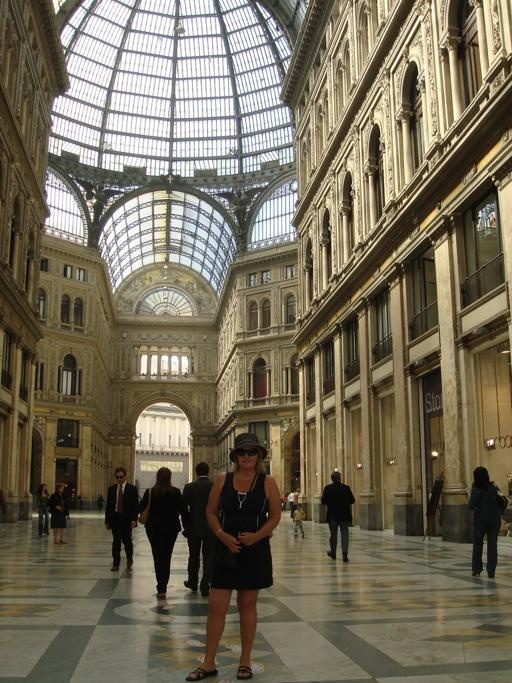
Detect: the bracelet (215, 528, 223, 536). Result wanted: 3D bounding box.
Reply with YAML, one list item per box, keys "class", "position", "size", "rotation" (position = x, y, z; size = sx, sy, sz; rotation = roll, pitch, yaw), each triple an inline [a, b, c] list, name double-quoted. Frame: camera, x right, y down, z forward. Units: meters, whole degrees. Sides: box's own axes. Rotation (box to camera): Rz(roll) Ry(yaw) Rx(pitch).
- class: "bracelet"
  position: [-0.176, 0.911, 2.722]
  size: [0.028, 0.039, 0.014]
  rotation: [-1, -11, -3]

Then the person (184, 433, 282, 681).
- class: "person"
  position: [-0.089, 0.998, 2.755]
  size: [0.424, 1.107, 0.367]
  rotation: [2, -14, -2]

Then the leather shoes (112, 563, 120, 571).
- class: "leather shoes"
  position: [-2.078, 3.344, 8.404]
  size: [0.074, 0.134, 0.128]
  rotation: [8, -26, -22]

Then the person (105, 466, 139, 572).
- class: "person"
  position: [-2.103, 2.753, 8.920]
  size: [0.499, 1.548, 2.284]
  rotation: [4, -16, -13]

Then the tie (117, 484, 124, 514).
- class: "tie"
  position: [-1.973, 2.290, 8.294]
  size: [0.099, 0.403, 0.212]
  rotation: [4, -15, -13]

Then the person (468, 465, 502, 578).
- class: "person"
  position: [2.977, 2.312, 7.369]
  size: [0.448, 1.353, 0.588]
  rotation: [-5, -16, 24]

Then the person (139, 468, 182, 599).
- class: "person"
  position: [-1.115, 2.165, 6.638]
  size: [0.501, 1.409, 1.287]
  rotation: [4, -15, -10]

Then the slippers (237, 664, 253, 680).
- class: "slippers"
  position: [-0.049, 1.482, 2.550]
  size: [0.065, 0.061, 0.186]
  rotation: [1, -13, -4]

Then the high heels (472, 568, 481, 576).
- class: "high heels"
  position: [2.774, 2.915, 7.170]
  size: [0.096, 0.112, 0.076]
  rotation: [9, -9, -5]

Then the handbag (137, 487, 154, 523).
- class: "handbag"
  position: [-1.279, 1.922, 6.669]
  size: [0.176, 0.295, 0.315]
  rotation: [8, -57, -9]
